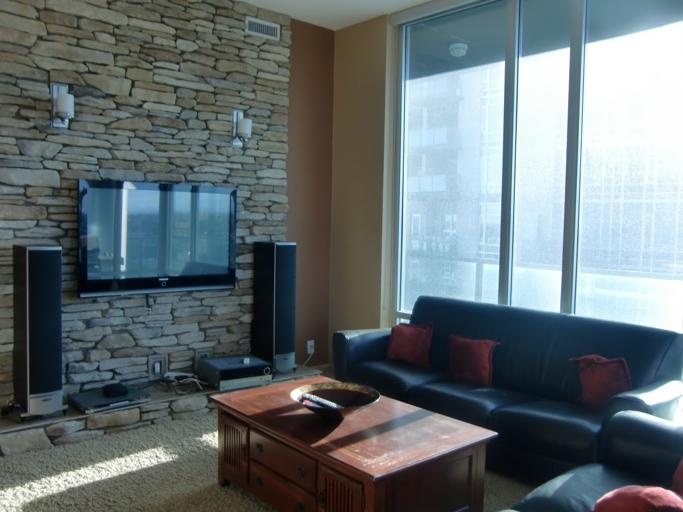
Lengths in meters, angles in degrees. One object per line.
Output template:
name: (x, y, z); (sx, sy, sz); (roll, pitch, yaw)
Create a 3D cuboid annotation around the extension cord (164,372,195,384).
extension cord: (-1.421, 1.073, 4.850); (0.157, 0.058, 0.179); (2, 0, -7)

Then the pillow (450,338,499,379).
pillow: (1.037, 0.811, 4.346); (0.166, 0.332, 0.428); (10, -9, -40)

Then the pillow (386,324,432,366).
pillow: (0.577, 0.748, 4.625); (0.383, 0.302, 0.103); (5, -15, 27)

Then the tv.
tv: (-1.616, -0.178, 4.677); (1.259, 0.740, 0.114); (0, 5, -29)

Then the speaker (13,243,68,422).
speaker: (-2.323, 0.561, 4.108); (0.433, 1.271, 0.280); (0, 5, 19)

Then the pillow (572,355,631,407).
pillow: (1.775, 0.854, 3.731); (0.317, 0.318, 0.172); (2, 6, 30)

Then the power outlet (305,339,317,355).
power outlet: (-0.325, 0.969, 5.879); (0.040, 0.171, 0.124); (3, 6, 37)

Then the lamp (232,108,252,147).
lamp: (-0.930, -1.152, 5.156); (0.159, 0.219, 0.138); (-6, -4, 40)

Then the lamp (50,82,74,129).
lamp: (-2.190, -1.183, 4.319); (0.178, 0.360, 0.209); (-3, 5, -24)

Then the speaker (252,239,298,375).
speaker: (-0.649, 0.479, 5.279); (0.319, 1.223, 0.420); (-5, 6, -35)
